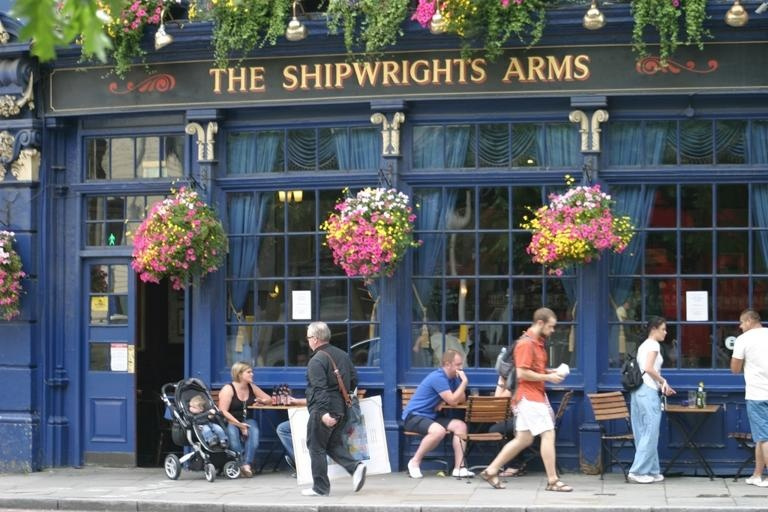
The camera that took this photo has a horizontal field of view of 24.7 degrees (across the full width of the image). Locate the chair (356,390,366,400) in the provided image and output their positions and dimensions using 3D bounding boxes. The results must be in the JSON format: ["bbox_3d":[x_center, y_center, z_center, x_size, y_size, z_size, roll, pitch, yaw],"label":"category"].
[{"bbox_3d":[-0.336,2.069,26.474,0.128,0.117,0.152,-1,-3,23],"label":"chair"}]

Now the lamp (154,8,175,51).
[{"bbox_3d":[-3.369,-3.487,26.711,0.277,0.585,0.485,-1,-1,-7],"label":"lamp"}]

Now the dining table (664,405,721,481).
[{"bbox_3d":[4.550,2.675,25.948,0.961,0.759,0.948,1,0,-40],"label":"dining table"}]

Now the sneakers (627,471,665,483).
[{"bbox_3d":[3.788,3.157,25.295,0.537,0.194,0.175,-1,1,3],"label":"sneakers"}]

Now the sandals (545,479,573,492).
[{"bbox_3d":[2.490,3.234,24.854,0.341,0.114,0.162,-1,-2,11],"label":"sandals"}]

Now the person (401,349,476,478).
[{"bbox_3d":[0.808,2.302,25.766,1.009,1.877,0.588,-1,-1,4],"label":"person"}]

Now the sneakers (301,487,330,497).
[{"bbox_3d":[-0.967,3.323,24.848,0.393,0.121,0.132,2,-5,13],"label":"sneakers"}]

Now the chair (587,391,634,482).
[{"bbox_3d":[3.563,2.582,25.569,1.067,1.064,0.962,2,7,15],"label":"chair"}]

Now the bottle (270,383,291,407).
[{"bbox_3d":[-1.529,2.062,26.334,0.320,0.476,0.280,-3,-18,11],"label":"bottle"}]

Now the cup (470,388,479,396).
[{"bbox_3d":[1.359,1.990,26.024,0.121,0.098,0.111,1,1,0],"label":"cup"}]

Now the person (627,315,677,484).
[{"bbox_3d":[3.827,2.054,25.233,0.601,1.613,0.368,-1,-1,-3],"label":"person"}]

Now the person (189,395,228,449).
[{"bbox_3d":[-2.633,2.436,25.923,0.547,0.764,0.356,-1,-1,43],"label":"person"}]

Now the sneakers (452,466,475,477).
[{"bbox_3d":[1.172,3.143,25.693,0.303,0.107,0.135,-1,-4,13],"label":"sneakers"}]

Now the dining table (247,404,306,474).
[{"bbox_3d":[-1.475,2.676,26.505,1.115,0.882,1.043,-3,-6,14],"label":"dining table"}]

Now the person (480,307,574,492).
[{"bbox_3d":[2.074,2.018,24.798,1.125,2.581,0.648,-1,-1,8],"label":"person"}]

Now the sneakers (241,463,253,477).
[{"bbox_3d":[-2.038,3.166,26.086,0.170,0.183,0.132,-1,-1,-10],"label":"sneakers"}]

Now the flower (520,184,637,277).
[{"bbox_3d":[3.203,-0.464,25.951,1.233,0.988,1.353,-23,8,-21],"label":"flower"}]
